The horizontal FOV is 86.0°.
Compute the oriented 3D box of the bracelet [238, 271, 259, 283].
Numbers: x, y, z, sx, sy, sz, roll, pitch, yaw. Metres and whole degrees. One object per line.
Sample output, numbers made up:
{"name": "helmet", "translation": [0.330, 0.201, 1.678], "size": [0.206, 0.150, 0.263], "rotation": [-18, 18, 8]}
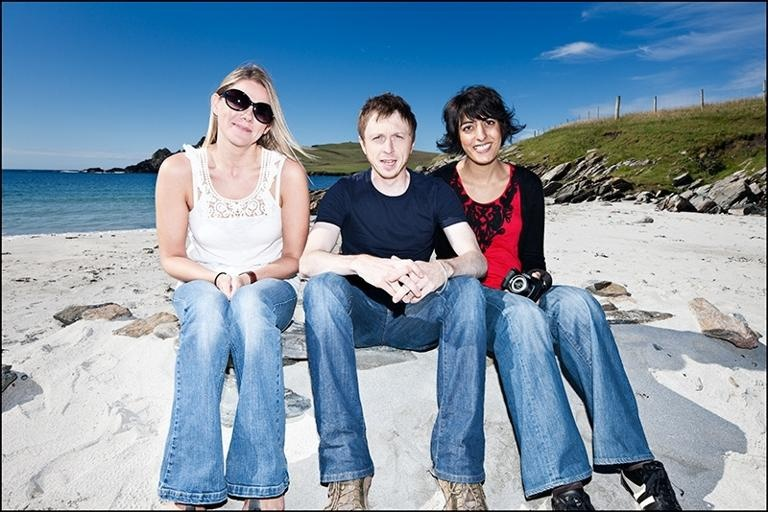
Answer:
{"name": "bracelet", "translation": [-1.301, 0.196, 3.967], "size": [0.119, 0.074, 0.147], "rotation": [-3, 9, -41]}

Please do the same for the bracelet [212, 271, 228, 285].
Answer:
{"name": "bracelet", "translation": [-1.575, 0.193, 3.909], "size": [0.034, 0.114, 0.123], "rotation": [20, -26, -4]}

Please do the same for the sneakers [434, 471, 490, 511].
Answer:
{"name": "sneakers", "translation": [0.620, 1.908, 3.292], "size": [0.381, 0.212, 0.157], "rotation": [-2, 9, 10]}
